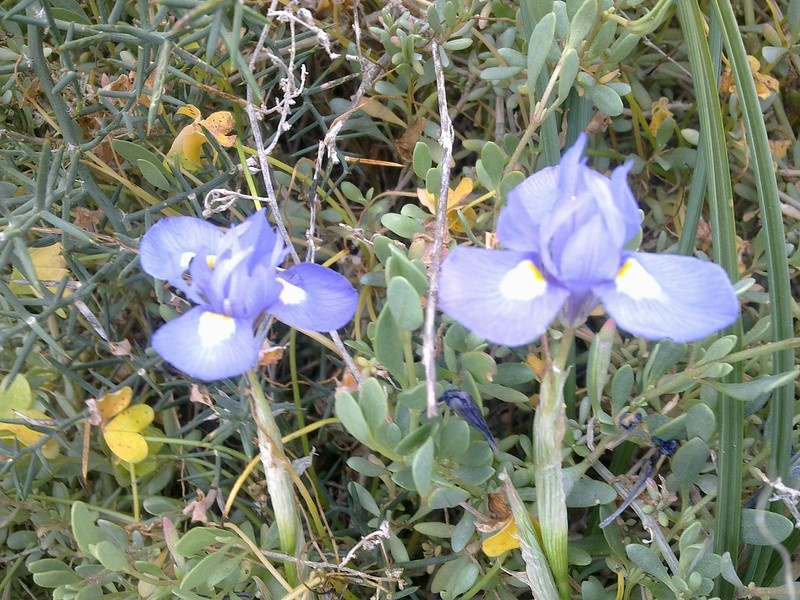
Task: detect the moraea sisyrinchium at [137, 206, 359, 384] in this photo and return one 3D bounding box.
[{"bbox_3d":[-0.272,0.049,1.140,0.279,0.143,0.297,18,51,6],"label":"moraea sisyrinchium"}]

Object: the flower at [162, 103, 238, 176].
[{"bbox_3d":[-0.423,-0.350,1.552,0.131,0.094,0.142,4,91,1],"label":"flower"}]

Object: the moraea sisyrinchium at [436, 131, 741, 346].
[{"bbox_3d":[0.249,-0.057,1.093,0.353,0.245,0.307,0,75,-10],"label":"moraea sisyrinchium"}]
